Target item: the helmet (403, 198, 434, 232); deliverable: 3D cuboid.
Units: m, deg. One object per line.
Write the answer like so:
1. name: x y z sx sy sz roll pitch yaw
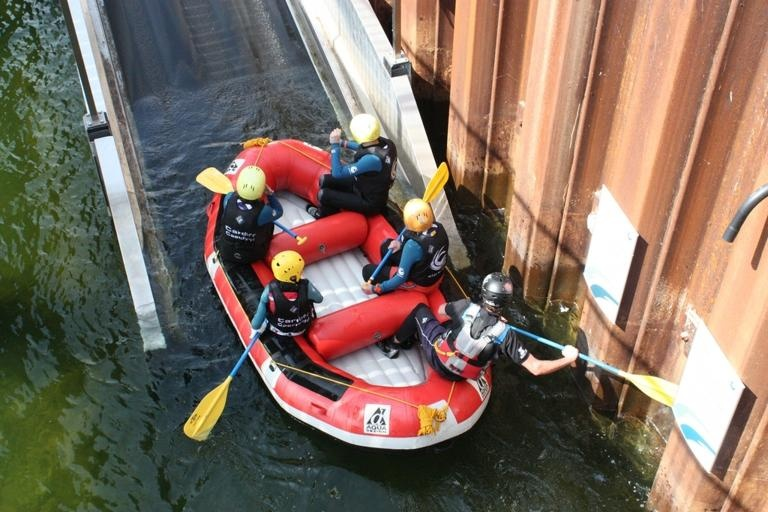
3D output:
1. helmet: 0.388 -0.466 6.681 0.313 0.409 0.345 0 0 -38

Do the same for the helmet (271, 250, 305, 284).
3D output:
1. helmet: -1.051 0.060 6.452 0.284 0.301 0.256 -7 18 -1

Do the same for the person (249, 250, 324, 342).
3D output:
1. person: -1.144 0.339 6.648 0.854 1.029 0.689 -11 32 -30

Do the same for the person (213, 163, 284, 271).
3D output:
1. person: -1.662 -0.570 7.258 0.617 1.162 0.884 16 39 1

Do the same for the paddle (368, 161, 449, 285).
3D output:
1. paddle: 0.289 -0.392 7.269 0.148 0.202 2.000 -2 55 56

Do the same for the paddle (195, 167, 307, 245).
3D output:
1. paddle: -1.631 -0.655 7.409 0.292 0.192 1.291 -32 62 -28

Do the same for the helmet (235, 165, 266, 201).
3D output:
1. helmet: -1.582 -0.865 6.911 0.278 0.439 0.359 14 6 -4

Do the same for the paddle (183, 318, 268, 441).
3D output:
1. paddle: -1.846 1.488 6.804 0.224 0.074 1.491 28 83 14

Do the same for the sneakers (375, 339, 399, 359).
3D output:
1. sneakers: 0.027 1.091 6.977 0.113 0.147 0.350 -32 73 -15
